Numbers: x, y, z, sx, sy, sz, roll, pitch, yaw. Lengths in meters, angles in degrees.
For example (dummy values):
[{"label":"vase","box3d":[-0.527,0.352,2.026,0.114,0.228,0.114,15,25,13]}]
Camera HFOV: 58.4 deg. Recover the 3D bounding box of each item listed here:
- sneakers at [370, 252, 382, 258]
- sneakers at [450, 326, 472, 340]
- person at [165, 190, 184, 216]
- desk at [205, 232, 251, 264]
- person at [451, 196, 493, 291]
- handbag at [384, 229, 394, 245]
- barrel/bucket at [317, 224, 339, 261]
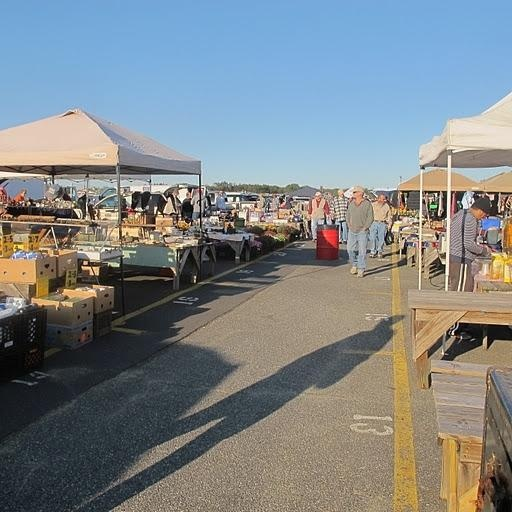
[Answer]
[{"label":"sneakers","box3d":[4.282,-0.040,16.265,0.181,0.234,0.554,0,-5,43]},{"label":"sneakers","box3d":[2.848,1.066,6.390,0.188,0.086,0.242,4,10,42]},{"label":"person","box3d":[-2.657,-1.767,14.756,0.502,0.729,1.680,0,7,-9]},{"label":"desk","box3d":[-0.647,-0.393,13.634,1.236,0.595,0.893,1,4,13]},{"label":"person","box3d":[3.122,-0.112,6.762,0.535,1.289,0.337,5,8,30]},{"label":"handbag","box3d":[5.951,-0.901,20.564,0.494,0.681,0.252,8,2,-29]},{"label":"barrel/bucket","box3d":[2.267,-0.470,14.775,0.762,1.068,0.736,0,3,0]}]
